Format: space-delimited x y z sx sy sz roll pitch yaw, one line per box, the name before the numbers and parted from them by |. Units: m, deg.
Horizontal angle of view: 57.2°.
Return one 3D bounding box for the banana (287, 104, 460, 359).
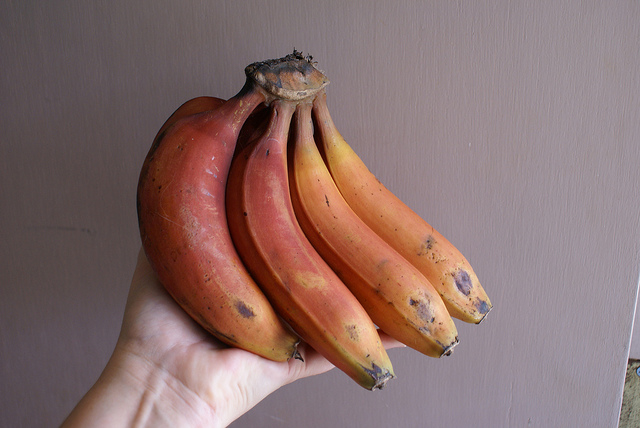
banana | 0.111 0.031 1.288 0.134 0.587 0.181 -22 -5 -44
